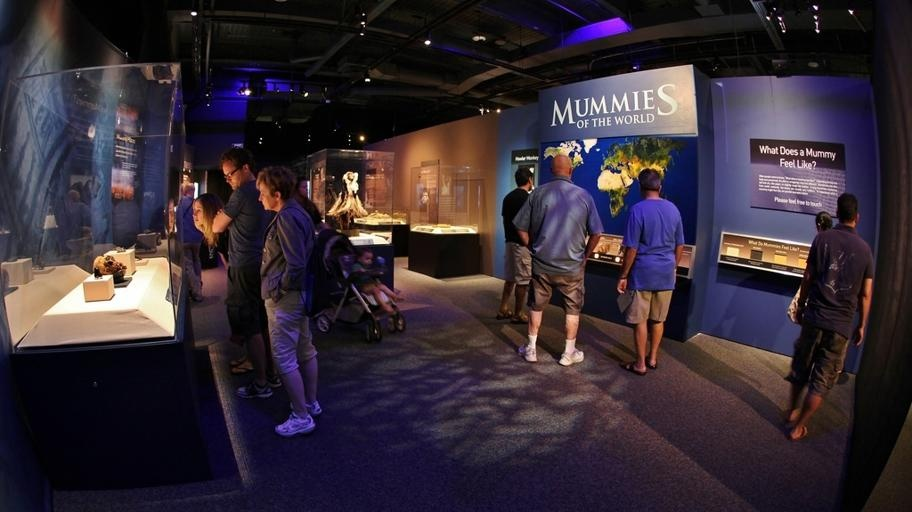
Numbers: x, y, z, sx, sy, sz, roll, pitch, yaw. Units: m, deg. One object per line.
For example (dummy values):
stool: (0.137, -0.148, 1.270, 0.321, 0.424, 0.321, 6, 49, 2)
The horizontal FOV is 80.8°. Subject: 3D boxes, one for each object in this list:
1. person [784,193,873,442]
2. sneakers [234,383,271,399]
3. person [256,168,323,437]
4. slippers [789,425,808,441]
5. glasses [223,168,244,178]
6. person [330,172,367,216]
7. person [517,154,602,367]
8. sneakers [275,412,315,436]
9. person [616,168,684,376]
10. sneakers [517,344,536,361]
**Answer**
person: (3.842, 0.618, 5.548, 0.789, 2.499, 0.542, -3, 12, -22)
sneakers: (-2.265, 1.516, 6.008, 0.374, 0.153, 0.158, 4, -4, -2)
person: (-1.680, 0.445, 5.458, 0.546, 2.669, 0.665, -5, 13, -30)
slippers: (3.589, 1.838, 5.560, 0.279, 0.097, 0.097, 2, -3, -21)
glasses: (-2.500, -0.953, 6.014, 0.116, 0.034, 0.112, -38, 20, -30)
person: (-1.909, -1.116, 9.560, 0.786, 0.771, 0.670, -3, 13, -29)
person: (1.304, 0.041, 6.805, 1.021, 2.571, 0.582, 3, 11, 9)
sneakers: (-1.655, 1.733, 5.526, 0.387, 0.183, 0.197, 0, -5, -9)
person: (2.455, 0.167, 6.641, 0.727, 2.455, 0.531, -7, 14, -36)
sneakers: (0.942, 1.240, 6.938, 0.128, 0.116, 0.262, -1, 11, -14)
